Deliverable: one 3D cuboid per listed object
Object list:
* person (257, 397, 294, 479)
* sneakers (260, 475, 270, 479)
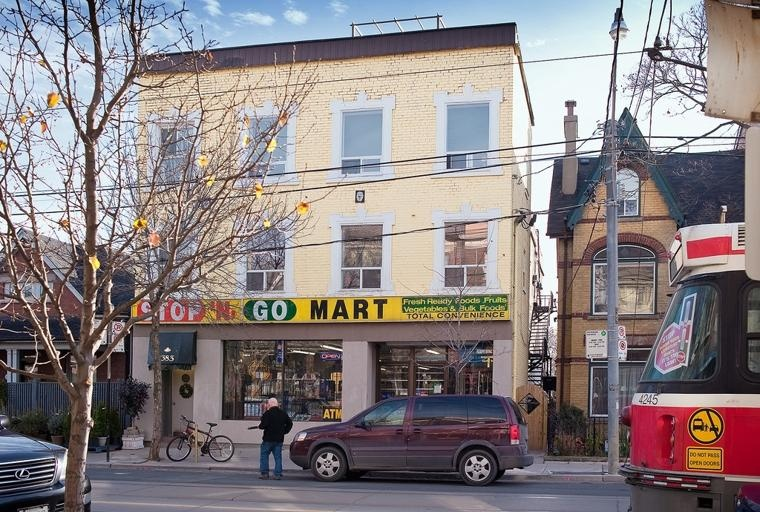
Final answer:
[{"bbox_3d":[-2.813,4.803,31.417,0.785,2.125,1.038,1,-10,-6],"label":"person"},{"bbox_3d":[-3.008,5.731,30.895,0.261,0.099,0.377,1,-11,-9],"label":"sneakers"}]
